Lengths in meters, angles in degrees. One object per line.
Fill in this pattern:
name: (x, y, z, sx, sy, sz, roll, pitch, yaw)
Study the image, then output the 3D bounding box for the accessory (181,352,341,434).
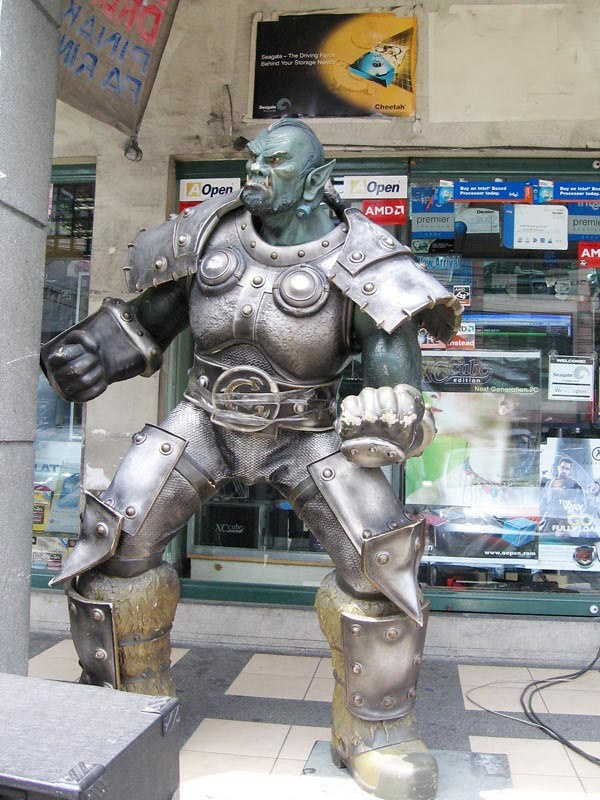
accessory: (-0.179, 0.012, 2.325, 0.533, 0.194, 0.413, 5, -3, 5)

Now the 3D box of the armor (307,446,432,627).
armor: (0.182, 0.354, 2.128, 0.167, 0.470, 0.268, -24, -32, 0)

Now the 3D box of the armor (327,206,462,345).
armor: (0.265, -0.355, 2.107, 0.372, 0.360, 0.326, 3, 0, -1)

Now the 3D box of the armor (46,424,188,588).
armor: (-0.511, 0.296, 2.169, 0.305, 0.451, 0.179, 3, 0, -44)

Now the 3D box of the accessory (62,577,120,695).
accessory: (-0.591, 0.674, 2.153, 0.097, 0.297, 0.206, 3, 0, -41)
